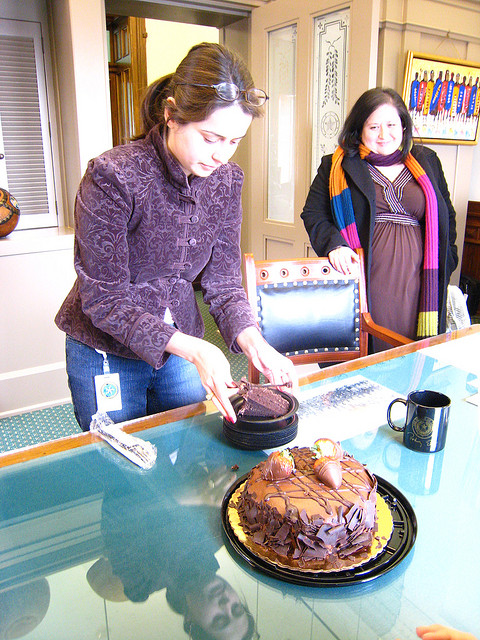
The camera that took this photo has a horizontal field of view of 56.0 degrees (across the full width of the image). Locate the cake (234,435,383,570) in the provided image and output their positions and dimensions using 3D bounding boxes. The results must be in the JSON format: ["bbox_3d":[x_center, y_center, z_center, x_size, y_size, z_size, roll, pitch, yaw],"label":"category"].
[{"bbox_3d":[0.106,0.236,0.665,0.229,0.101,0.249,-2,9,-7],"label":"cake"}]

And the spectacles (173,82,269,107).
[{"bbox_3d":[-0.037,-0.428,0.849,0.175,0.048,0.092,-1,11,-9],"label":"spectacles"}]

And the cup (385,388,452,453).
[{"bbox_3d":[0.359,0.202,0.926,0.110,0.107,0.075,6,17,26],"label":"cup"}]

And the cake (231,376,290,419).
[{"bbox_3d":[0.043,0.165,0.930,0.093,0.041,0.076,14,12,-17],"label":"cake"}]
